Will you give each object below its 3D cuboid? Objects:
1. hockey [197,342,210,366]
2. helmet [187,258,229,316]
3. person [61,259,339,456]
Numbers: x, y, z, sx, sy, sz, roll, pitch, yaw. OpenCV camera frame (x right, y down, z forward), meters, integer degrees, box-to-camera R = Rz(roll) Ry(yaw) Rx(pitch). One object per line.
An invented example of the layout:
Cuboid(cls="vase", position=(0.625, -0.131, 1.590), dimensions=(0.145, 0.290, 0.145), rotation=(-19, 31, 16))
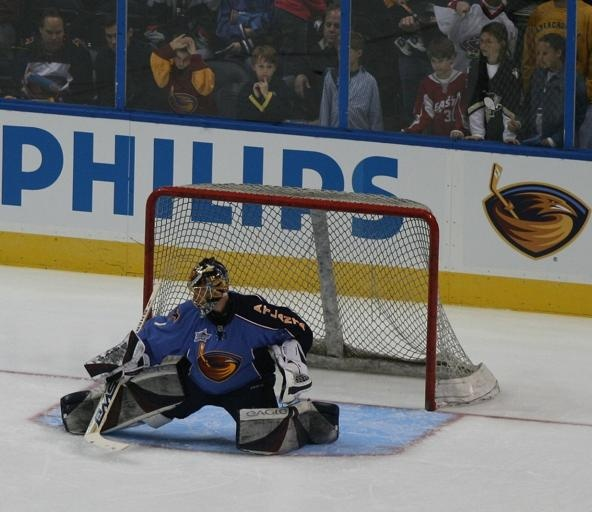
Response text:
Cuboid(cls="hockey", position=(-0.461, 0.479, 5.683), dimensions=(0.043, 0.102, 0.064), rotation=(-2, 15, -17))
Cuboid(cls="helmet", position=(-0.435, 0.149, 5.697), dimensions=(0.196, 0.275, 0.169), rotation=(1, 15, -6))
Cuboid(cls="person", position=(-0.488, 0.463, 5.710), dimensions=(1.470, 0.799, 0.943), rotation=(-2, 5, 16))
